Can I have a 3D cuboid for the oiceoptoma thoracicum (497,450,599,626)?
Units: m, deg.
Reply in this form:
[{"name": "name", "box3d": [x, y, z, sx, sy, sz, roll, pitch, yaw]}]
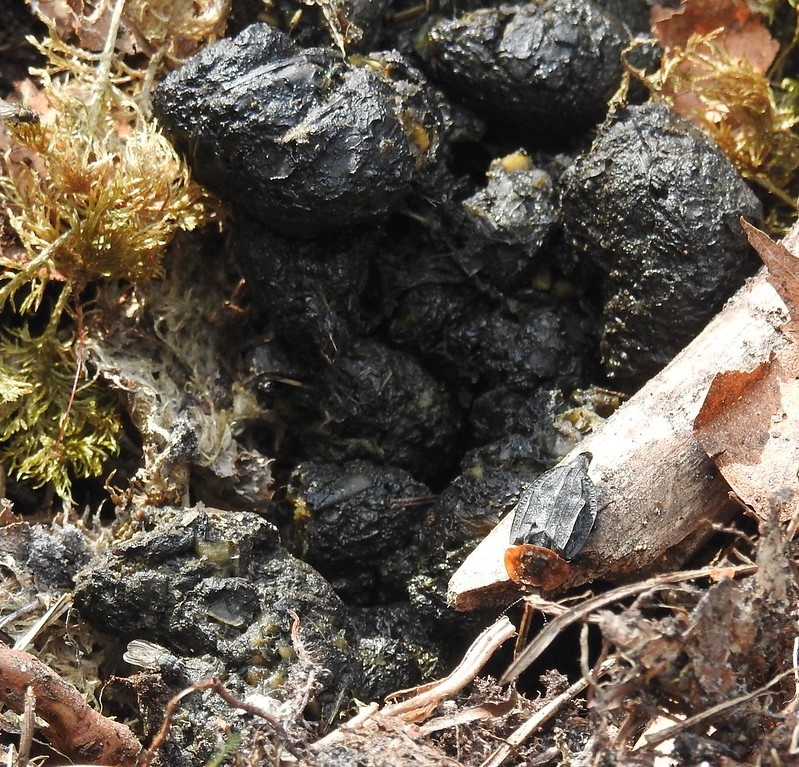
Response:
[{"name": "oiceoptoma thoracicum", "box3d": [0.348, 0.318, 2.414, 0.188, 0.111, 0.310, 29, 90, 22]}]
